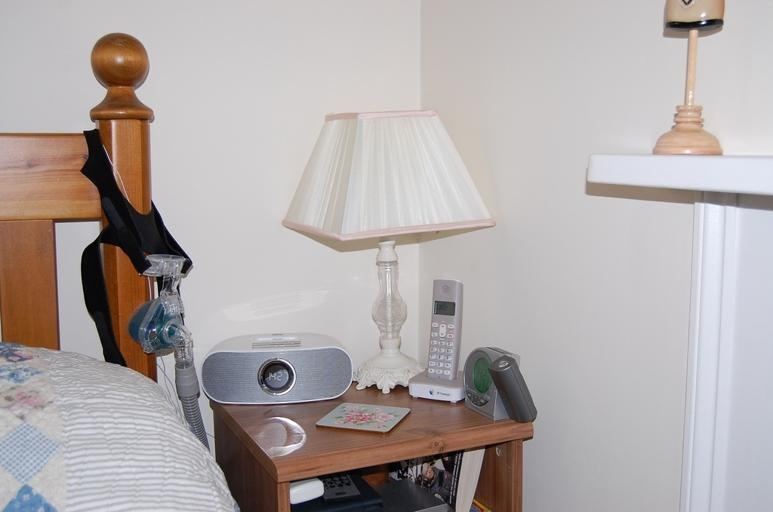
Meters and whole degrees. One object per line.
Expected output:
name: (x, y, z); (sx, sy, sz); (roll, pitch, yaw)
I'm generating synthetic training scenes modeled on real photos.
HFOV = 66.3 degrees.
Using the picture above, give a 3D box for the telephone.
telephone: (0.130, 0.189, 1.390); (0.163, 0.267, 0.164); (2, 4, -3)

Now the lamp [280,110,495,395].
lamp: (-0.005, -0.009, 1.417); (0.473, 0.659, 0.196); (-2, 9, -10)
